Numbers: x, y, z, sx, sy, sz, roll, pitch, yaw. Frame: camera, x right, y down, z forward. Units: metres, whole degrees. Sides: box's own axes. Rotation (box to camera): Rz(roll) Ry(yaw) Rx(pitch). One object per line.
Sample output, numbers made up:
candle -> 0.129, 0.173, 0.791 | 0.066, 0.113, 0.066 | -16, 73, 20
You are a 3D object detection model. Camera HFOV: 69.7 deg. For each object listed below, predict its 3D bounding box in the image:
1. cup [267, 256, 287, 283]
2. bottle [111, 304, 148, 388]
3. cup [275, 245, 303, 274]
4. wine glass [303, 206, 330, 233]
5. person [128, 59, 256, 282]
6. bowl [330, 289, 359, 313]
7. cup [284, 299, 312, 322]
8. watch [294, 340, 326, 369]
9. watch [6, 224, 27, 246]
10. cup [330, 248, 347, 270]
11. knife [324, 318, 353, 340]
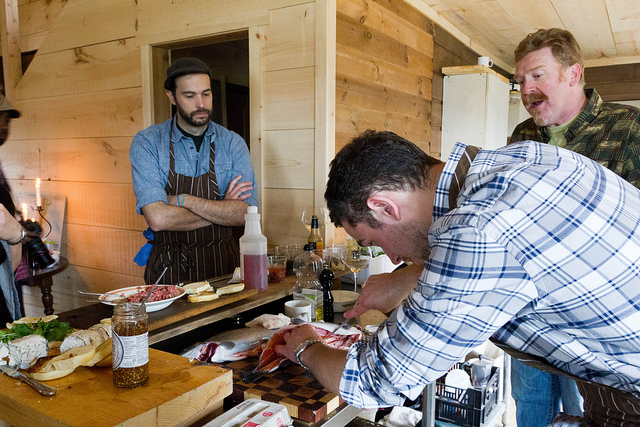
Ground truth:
cup -> -0.226, 0.310, 2.514 | 0.126, 0.096, 0.129 | 1, 0, 0
bottle -> -0.601, 0.417, 1.445 | 0.103, 0.259, 0.061 | -1, -3, -17
cup -> -0.184, 0.278, 2.710 | 0.176, 0.182, 0.169 | 0, -6, 0
wine glass -> -0.036, 0.050, 3.220 | 0.185, 0.232, 0.170 | -2, 8, -15
person -> -0.785, -0.257, 2.919 | 0.766, 1.364, 0.335 | -1, -3, -21
bowl -> 0.120, 0.439, 2.326 | 0.140, 0.044, 0.138 | -1, 5, 0
cup -> -0.095, 0.445, 2.087 | 0.077, 0.070, 0.119 | -5, 8, -44
watch -> -0.047, 0.517, 1.673 | 0.113, 0.094, 0.029 | 4, -18, -26
watch -> -1.431, 0.104, 2.163 | 0.088, 0.079, 0.031 | -20, 39, -39
cup -> 0.107, 0.278, 2.742 | 0.129, 0.128, 0.121 | 2, 0, 0
knife -> 0.069, 0.502, 2.010 | 0.181, 0.028, 0.026 | -33, -49, 15
